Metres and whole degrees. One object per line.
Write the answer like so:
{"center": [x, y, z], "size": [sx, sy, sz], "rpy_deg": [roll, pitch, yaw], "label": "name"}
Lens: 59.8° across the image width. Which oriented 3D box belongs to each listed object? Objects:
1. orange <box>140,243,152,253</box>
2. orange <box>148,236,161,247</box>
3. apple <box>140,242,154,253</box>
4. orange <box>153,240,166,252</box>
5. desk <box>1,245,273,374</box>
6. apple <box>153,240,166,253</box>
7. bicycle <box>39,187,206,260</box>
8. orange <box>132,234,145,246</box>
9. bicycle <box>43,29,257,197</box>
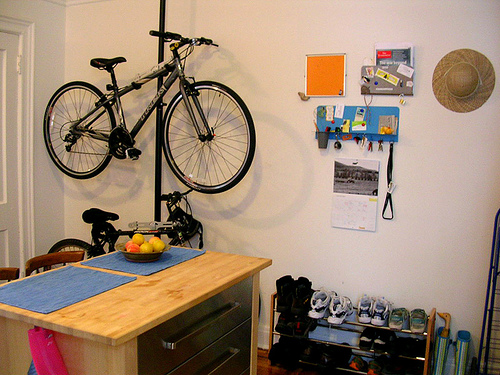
{"center": [-0.632, 0.370, 2.647], "size": [0.049, 0.057, 0.049], "rpy_deg": [7, -9, -35], "label": "orange"}
{"center": [-0.605, 0.348, 2.757], "size": [0.046, 0.037, 0.061], "rpy_deg": [0, 9, -4], "label": "orange"}
{"center": [-0.628, 0.370, 2.650], "size": [0.051, 0.061, 0.055], "rpy_deg": [2, 8, 20], "label": "apple"}
{"center": [-0.558, 0.364, 2.683], "size": [0.055, 0.064, 0.060], "rpy_deg": [-5, 26, 22], "label": "orange"}
{"center": [-0.485, 0.868, 2.421], "size": [0.550, 0.696, 1.362], "rpy_deg": [13, 16, 44], "label": "desk"}
{"center": [-0.558, 0.364, 2.683], "size": [0.057, 0.064, 0.061], "rpy_deg": [-7, 10, 3], "label": "apple"}
{"center": [-1.124, 0.351, 3.826], "size": [1.185, 0.870, 0.798], "rpy_deg": [-1, -2, 18], "label": "bicycle"}
{"center": [-0.689, 0.318, 2.709], "size": [0.063, 0.074, 0.066], "rpy_deg": [0, 11, 3], "label": "orange"}
{"center": [-0.912, -0.682, 3.889], "size": [2.211, 1.491, 0.794], "rpy_deg": [8, 13, 29], "label": "bicycle"}
